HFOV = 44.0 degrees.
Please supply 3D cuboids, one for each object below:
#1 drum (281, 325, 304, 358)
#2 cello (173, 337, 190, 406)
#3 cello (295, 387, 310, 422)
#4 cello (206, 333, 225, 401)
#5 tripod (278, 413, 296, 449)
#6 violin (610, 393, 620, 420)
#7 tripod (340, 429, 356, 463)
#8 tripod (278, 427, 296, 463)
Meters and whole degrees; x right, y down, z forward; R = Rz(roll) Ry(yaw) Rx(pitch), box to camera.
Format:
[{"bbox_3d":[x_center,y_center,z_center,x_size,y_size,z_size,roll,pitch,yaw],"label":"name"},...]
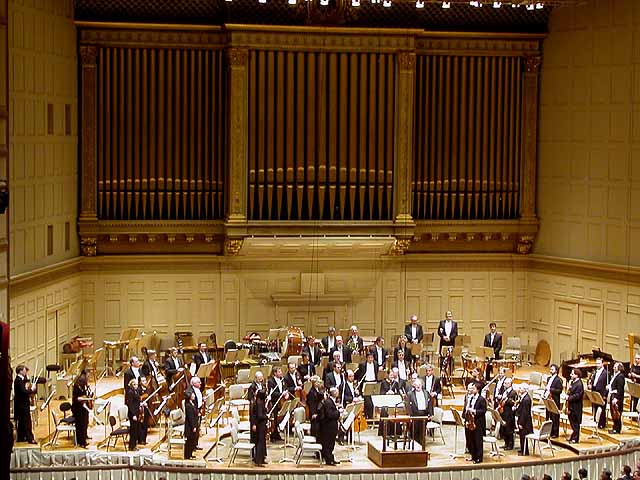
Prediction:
[{"bbox_3d":[-0.694,2.529,19.304,0.399,1.155,0.848,5,-9,-19],"label":"drum"},{"bbox_3d":[-3.134,2.896,17.229,0.265,1.518,0.592,0,4,17],"label":"cello"},{"bbox_3d":[-0.252,3.357,16.352,0.350,0.696,0.481,-5,-12,25],"label":"cello"},{"bbox_3d":[-2.507,2.885,18.696,0.269,1.285,0.524,-4,-2,21],"label":"cello"},{"bbox_3d":[-0.655,3.858,15.998,0.367,1.034,0.769,1,-3,2],"label":"tripod"},{"bbox_3d":[6.130,3.436,16.231,0.094,0.583,0.291,-5,-5,14],"label":"violin"},{"bbox_3d":[0.591,4.193,16.143,0.313,0.588,0.366,2,-18,-4],"label":"tripod"},{"bbox_3d":[-0.640,4.139,15.943,0.317,0.845,0.375,0,2,10],"label":"tripod"}]
